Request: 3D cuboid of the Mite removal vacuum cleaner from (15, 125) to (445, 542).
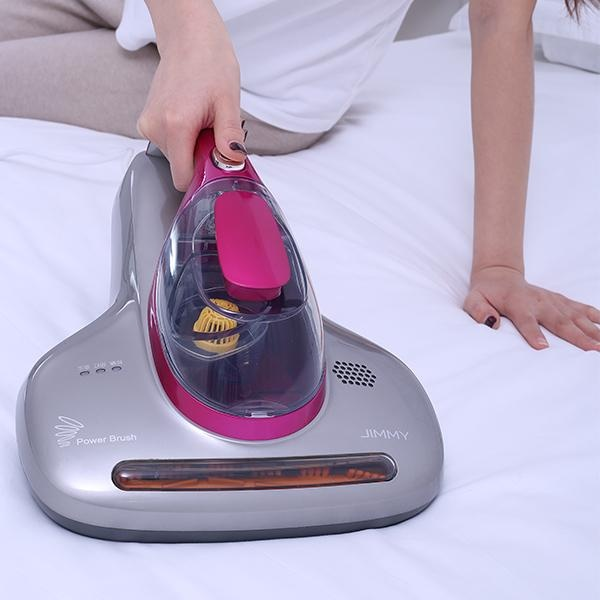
[{"bbox_3d":[-0.079,-0.009,0.642,0.341,0.185,0.518,1,25,-16],"label":"Mite removal vacuum cleaner"}]
